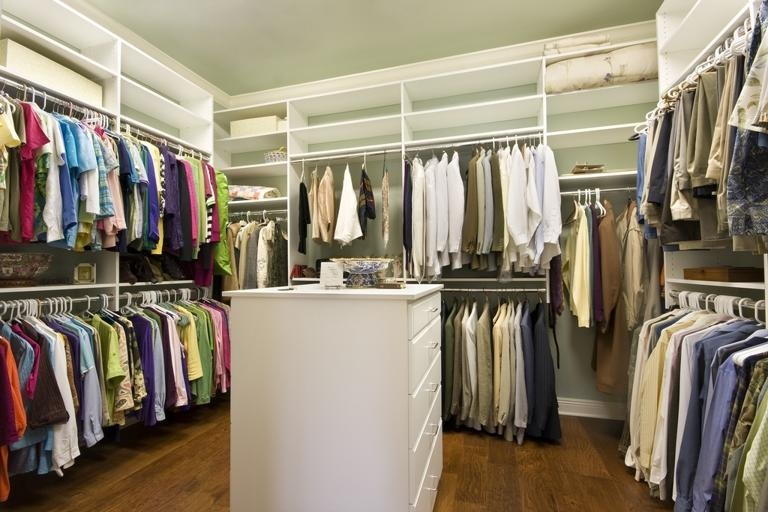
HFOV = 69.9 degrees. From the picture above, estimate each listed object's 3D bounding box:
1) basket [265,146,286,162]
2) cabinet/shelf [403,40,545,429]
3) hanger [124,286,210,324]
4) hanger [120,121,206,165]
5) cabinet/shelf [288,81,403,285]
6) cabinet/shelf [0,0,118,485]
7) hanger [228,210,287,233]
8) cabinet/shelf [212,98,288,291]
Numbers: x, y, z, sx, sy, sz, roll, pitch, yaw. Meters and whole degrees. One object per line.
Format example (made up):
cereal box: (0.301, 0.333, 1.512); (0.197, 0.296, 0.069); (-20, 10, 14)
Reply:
basket: (-1.038, -0.962, 5.352); (0.168, 0.123, 0.174); (1, 5, 28)
cabinet/shelf: (0.832, -0.105, 4.711); (1.282, 3.076, 0.791); (0, 1, 18)
hanger: (-1.910, 0.406, 4.719); (0.634, 0.233, 0.853); (-1, 1, -11)
hanger: (-1.954, -0.995, 4.824); (0.182, 0.249, 0.656); (0, 1, 23)
cabinet/shelf: (-0.341, -0.730, 5.166); (1.121, 1.601, 0.767); (-1, 1, 4)
cabinet/shelf: (-2.302, -0.172, 4.028); (0.857, 3.410, 0.900); (-1, 1, -25)
hanger: (-1.322, -0.399, 5.634); (0.496, 0.126, 0.226); (1, 3, 29)
cabinet/shelf: (-1.315, -0.573, 5.457); (0.907, 1.787, 0.671); (-1, 1, 12)
